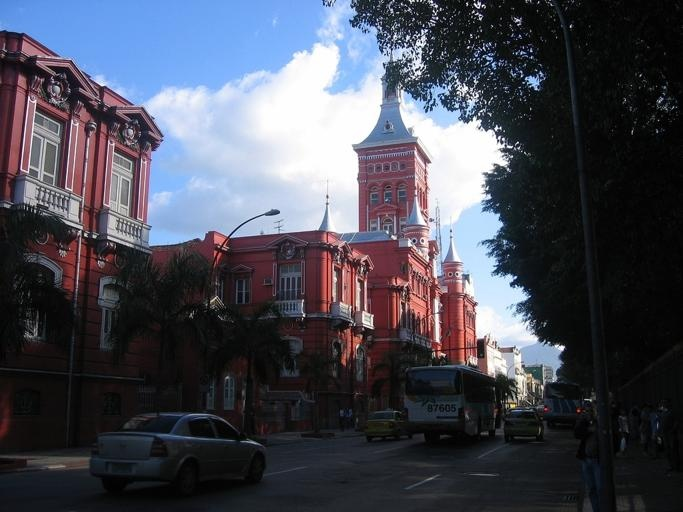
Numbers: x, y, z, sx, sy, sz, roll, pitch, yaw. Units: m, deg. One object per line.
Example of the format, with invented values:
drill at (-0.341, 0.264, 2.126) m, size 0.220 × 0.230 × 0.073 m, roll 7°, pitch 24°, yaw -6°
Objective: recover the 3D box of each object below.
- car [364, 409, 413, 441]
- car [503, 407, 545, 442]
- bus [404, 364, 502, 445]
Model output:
car at (2.781, 9.888, 41.173) m, size 1.502 × 1.311 × 3.681 m, roll -3°, pitch -10°, yaw 13°
car at (9.624, 8.963, 37.827) m, size 2.065 × 1.806 × 1.980 m, roll -3°, pitch -16°, yaw 5°
bus at (6.060, 8.153, 37.924) m, size 2.458 × 2.950 × 7.647 m, roll -5°, pitch -21°, yaw 18°
